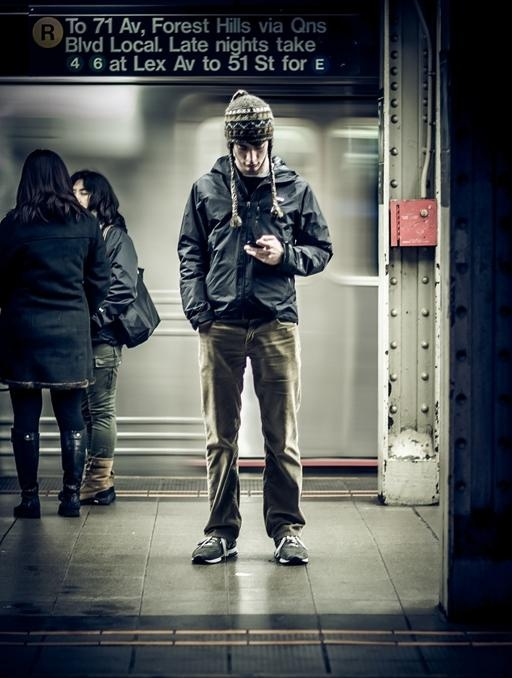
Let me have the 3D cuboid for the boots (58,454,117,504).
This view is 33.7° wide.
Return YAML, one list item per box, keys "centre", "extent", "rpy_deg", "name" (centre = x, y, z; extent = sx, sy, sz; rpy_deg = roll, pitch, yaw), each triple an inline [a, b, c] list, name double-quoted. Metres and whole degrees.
- centre: [-0.935, 0.811, 4.763]
  extent: [0.266, 0.304, 0.136]
  rpy_deg: [2, 1, -3]
  name: "boots"

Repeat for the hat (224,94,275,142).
- centre: [-0.029, -0.925, 3.518]
  extent: [0.194, 0.227, 0.200]
  rpy_deg: [0, 9, 18]
  name: "hat"

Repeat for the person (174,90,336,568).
- centre: [-0.067, -0.029, 3.653]
  extent: [0.495, 2.028, 0.286]
  rpy_deg: [-3, 7, -4]
  name: "person"
